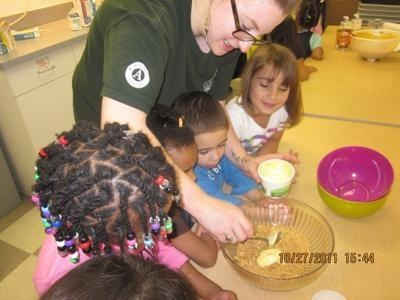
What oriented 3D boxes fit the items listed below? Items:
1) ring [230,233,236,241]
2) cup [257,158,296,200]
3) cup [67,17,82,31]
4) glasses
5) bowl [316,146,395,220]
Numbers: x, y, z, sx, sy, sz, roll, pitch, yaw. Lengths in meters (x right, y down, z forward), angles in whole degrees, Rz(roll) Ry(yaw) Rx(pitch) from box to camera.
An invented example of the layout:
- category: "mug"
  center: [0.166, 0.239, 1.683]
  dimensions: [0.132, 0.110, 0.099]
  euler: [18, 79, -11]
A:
- category: "ring"
  center: [0.113, 0.296, 1.009]
  dimensions: [0.006, 0.016, 0.019]
  euler: [3, 6, -36]
- category: "cup"
  center: [0.339, 0.109, 1.350]
  dimensions: [0.146, 0.109, 0.164]
  euler: [-3, 31, 4]
- category: "cup"
  center: [-1.146, -1.145, 2.769]
  dimensions: [0.095, 0.119, 0.108]
  euler: [17, 15, 32]
- category: "glasses"
  center: [0.162, -0.427, 1.071]
  dimensions: [0.042, 0.162, 0.153]
  euler: [-14, -4, 30]
- category: "bowl"
  center: [0.667, 0.151, 1.342]
  dimensions: [0.290, 0.182, 0.330]
  euler: [31, 53, 32]
